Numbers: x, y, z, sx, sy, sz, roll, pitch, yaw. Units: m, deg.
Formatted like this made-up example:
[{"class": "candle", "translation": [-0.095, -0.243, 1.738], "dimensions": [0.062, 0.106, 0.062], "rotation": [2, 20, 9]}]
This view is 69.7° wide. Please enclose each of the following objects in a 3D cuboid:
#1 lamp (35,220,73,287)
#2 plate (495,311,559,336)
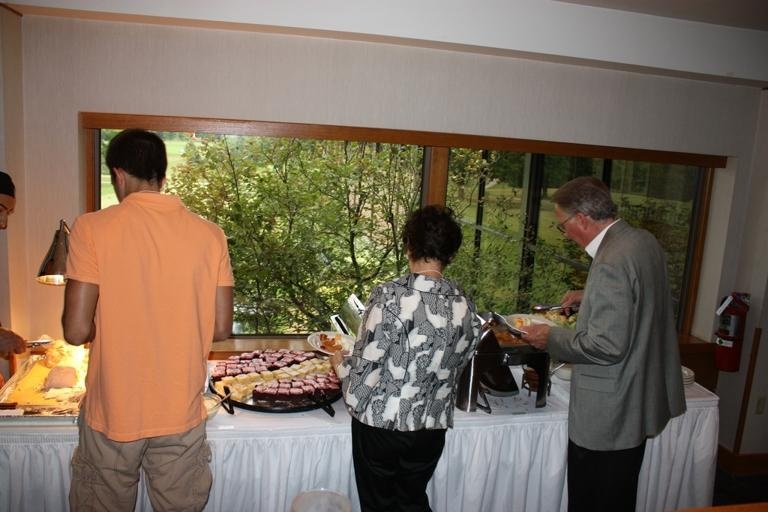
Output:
[{"class": "lamp", "translation": [-1.463, 0.023, 2.550], "dimensions": [0.155, 0.372, 0.246], "rotation": [1, 12, -15]}, {"class": "plate", "translation": [0.803, 0.370, 3.114], "dimensions": [0.224, 0.060, 0.224], "rotation": [1, 6, -6]}]
